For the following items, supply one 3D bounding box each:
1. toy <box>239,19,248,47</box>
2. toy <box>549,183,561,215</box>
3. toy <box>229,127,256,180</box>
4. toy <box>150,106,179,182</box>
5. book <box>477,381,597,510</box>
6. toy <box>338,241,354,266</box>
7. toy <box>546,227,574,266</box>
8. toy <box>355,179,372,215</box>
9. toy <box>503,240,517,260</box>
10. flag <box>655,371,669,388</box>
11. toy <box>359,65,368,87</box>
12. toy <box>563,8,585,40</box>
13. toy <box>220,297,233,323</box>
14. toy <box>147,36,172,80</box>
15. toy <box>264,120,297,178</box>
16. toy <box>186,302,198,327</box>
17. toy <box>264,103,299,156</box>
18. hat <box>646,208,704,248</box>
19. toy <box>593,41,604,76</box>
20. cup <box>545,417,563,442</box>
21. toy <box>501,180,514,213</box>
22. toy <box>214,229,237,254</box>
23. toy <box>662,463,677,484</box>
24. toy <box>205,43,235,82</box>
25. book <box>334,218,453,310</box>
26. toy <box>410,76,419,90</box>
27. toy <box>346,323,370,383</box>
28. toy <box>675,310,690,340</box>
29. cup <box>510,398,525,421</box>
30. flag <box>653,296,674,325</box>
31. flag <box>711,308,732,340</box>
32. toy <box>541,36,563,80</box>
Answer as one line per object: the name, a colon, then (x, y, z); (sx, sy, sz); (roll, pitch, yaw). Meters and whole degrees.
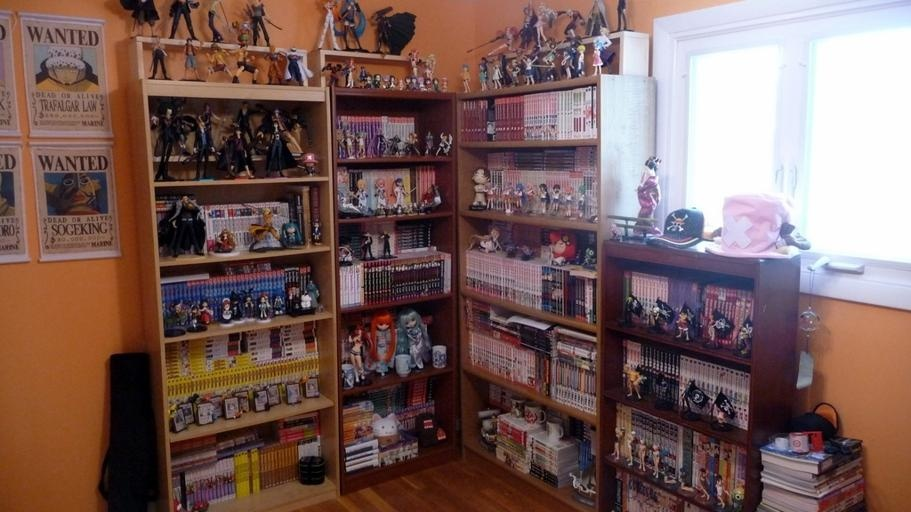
toy: (-1.630, -1.720, 5.112); (0.098, 0.195, 0.197); (-5, 12, -15)
toy: (0.797, -0.448, 5.177); (0.048, 0.240, 0.090); (-10, 14, -37)
toy: (-1.650, -0.803, 5.107); (0.149, 0.384, 0.198); (-2, 11, -3)
toy: (-2.168, -0.846, 4.940); (0.186, 0.530, 0.357); (-6, 12, -23)
book: (0.690, 1.541, 5.498); (0.673, 0.283, 0.888); (-6, 16, -43)
toy: (-0.910, -0.009, 5.363); (0.155, 0.148, 0.117); (-8, 19, -14)
toy: (0.886, -0.076, 5.273); (0.277, 0.251, 0.155); (12, 16, 41)
toy: (-0.750, -0.492, 5.460); (0.107, 0.297, 0.184); (1, 12, 14)
toy: (0.448, -0.037, 5.553); (0.097, 0.113, 0.121); (1, 12, -8)
flag: (1.487, 0.883, 4.723); (0.106, 0.109, 0.062); (-16, -9, 41)
toy: (-0.747, -1.466, 5.420); (0.073, 0.156, 0.139); (1, 12, 13)
toy: (0.932, -1.814, 5.183); (0.162, 0.245, 0.370); (1, 12, 10)
toy: (-1.757, 0.423, 5.095); (0.062, 0.183, 0.076); (6, 13, 33)
toy: (-2.216, -1.472, 4.936); (0.141, 0.287, 0.280); (-6, 12, -22)
toy: (-1.373, -0.869, 5.159); (0.219, 0.383, 0.107); (-7, 12, -25)
toy: (-2.000, 0.451, 5.045); (0.079, 0.156, 0.071); (6, 13, 31)
toy: (-1.370, -1.000, 5.195); (0.141, 0.125, 0.427); (8, -5, 11)
hat: (1.523, -0.190, 4.546); (0.377, 0.198, 0.231); (-4, 8, -42)
toy: (1.081, -1.485, 4.924); (0.079, 0.256, 0.288); (1, 12, 13)
cup: (0.811, 1.415, 5.380); (0.100, 0.132, 0.155); (-1, 11, -12)
toy: (0.448, -0.470, 5.454); (0.165, 0.211, 0.069); (11, 10, 42)
toy: (-1.762, -0.114, 5.157); (0.180, 0.191, 0.176); (-5, 7, -39)
toy: (1.531, 1.556, 4.700); (0.115, 0.108, 0.098); (-3, -10, 19)
toy: (-1.808, -1.492, 5.077); (0.201, 0.252, 0.251); (-5, 12, -19)
book: (-0.542, 0.070, 5.528); (0.777, 0.502, 0.249); (-5, 8, -28)
toy: (-0.338, -1.444, 5.502); (0.071, 0.114, 0.121); (-2, 12, -4)
toy: (-0.821, 0.819, 5.526); (0.158, 0.445, 0.232); (-4, 12, -15)
toy: (1.568, 0.469, 4.574); (0.073, 0.199, 0.138); (-4, 12, -14)
cup: (0.536, 1.295, 5.553); (0.133, 0.136, 0.130); (0, 9, 0)
flag: (1.468, 0.392, 4.629); (0.061, 0.121, 0.166); (-6, 25, -37)
flag: (1.780, 0.467, 4.411); (0.048, 0.163, 0.172); (-12, 51, -40)
toy: (0.779, -1.590, 5.220); (0.223, 0.149, 0.391); (-3, -35, 14)
